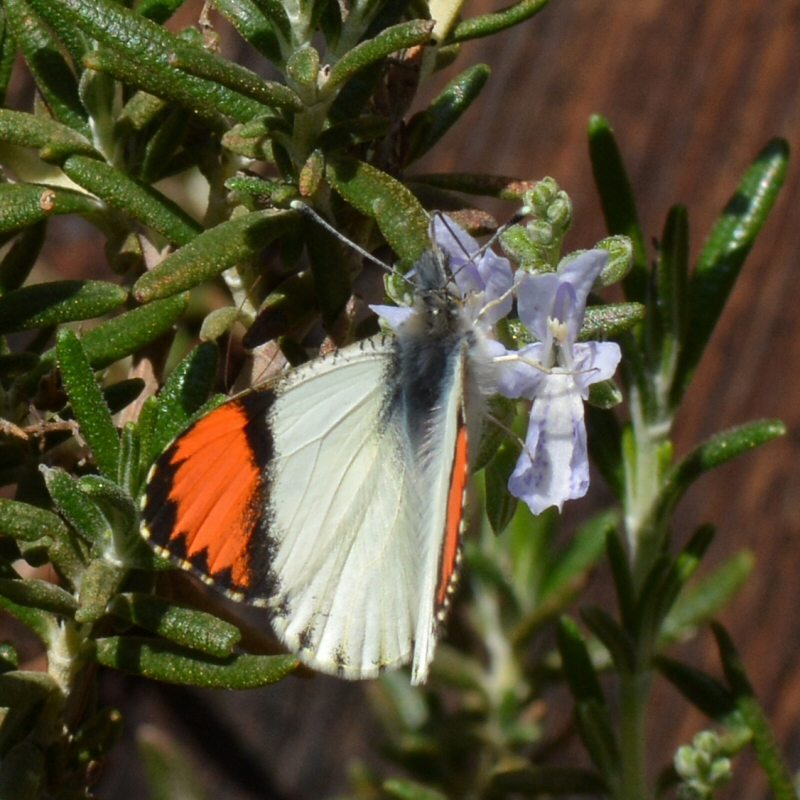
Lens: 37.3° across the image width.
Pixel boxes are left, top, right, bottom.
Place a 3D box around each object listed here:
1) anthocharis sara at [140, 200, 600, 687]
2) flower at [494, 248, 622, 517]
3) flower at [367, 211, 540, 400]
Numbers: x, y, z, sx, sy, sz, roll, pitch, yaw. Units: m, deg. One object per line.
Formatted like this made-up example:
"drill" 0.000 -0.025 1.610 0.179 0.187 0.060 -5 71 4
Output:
"anthocharis sara" -0.031 0.050 1.356 0.476 0.492 0.246 28 42 3
"flower" 0.143 -0.017 1.104 0.102 0.214 0.124 1 24 24
"flower" 0.061 -0.096 1.207 0.046 0.175 0.167 -17 48 -44
